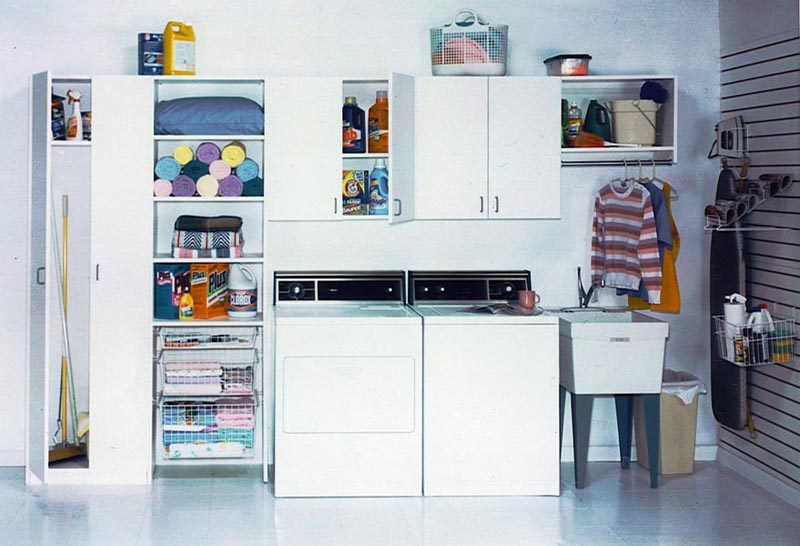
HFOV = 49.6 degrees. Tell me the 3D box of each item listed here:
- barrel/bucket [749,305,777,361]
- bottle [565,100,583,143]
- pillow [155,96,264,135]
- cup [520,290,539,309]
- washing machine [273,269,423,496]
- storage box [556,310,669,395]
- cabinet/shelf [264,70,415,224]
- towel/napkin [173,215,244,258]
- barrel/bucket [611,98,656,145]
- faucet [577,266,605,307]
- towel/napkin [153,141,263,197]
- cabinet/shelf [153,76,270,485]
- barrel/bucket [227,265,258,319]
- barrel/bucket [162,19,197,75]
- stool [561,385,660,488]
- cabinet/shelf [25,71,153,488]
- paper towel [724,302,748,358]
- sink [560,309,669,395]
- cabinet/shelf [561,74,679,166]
[{"bbox_3d":[2.454,0.409,5.826,0.144,0.363,0.188,2,9,38],"label":"barrel/bucket"},{"bbox_3d":[1.262,-1.068,6.267,0.130,0.285,0.176,-1,7,12],"label":"bottle"},{"bbox_3d":[-1.320,-1.074,5.992,0.755,0.277,0.146,-3,7,-1],"label":"pillow"},{"bbox_3d":[0.919,0.187,5.997,0.146,0.137,0.094,-1,2,0],"label":"cup"},{"bbox_3d":[-0.406,0.713,6.201,1.092,1.385,0.900,0,6,-6],"label":"washing machine"},{"bbox_3d":[1.441,0.483,5.970,0.656,0.562,0.590,0,7,1],"label":"storage box"},{"bbox_3d":[-0.585,-0.869,6.072,1.124,0.982,0.453,0,7,-12],"label":"cabinet/shelf"},{"bbox_3d":[-1.347,-0.248,6.061,0.484,0.294,0.284,2,7,-4],"label":"towel/napkin"},{"bbox_3d":[1.680,-1.070,6.188,0.348,0.270,0.303,1,7,9],"label":"barrel/bucket"},{"bbox_3d":[1.414,0.102,6.410,0.184,0.295,0.137,-2,7,8],"label":"faucet"},{"bbox_3d":[-1.334,-0.707,6.017,0.749,0.381,0.211,-5,7,-16],"label":"towel/napkin"},{"bbox_3d":[-1.358,0.017,6.162,0.893,2.717,0.523,1,5,-2],"label":"cabinet/shelf"},{"bbox_3d":[-1.124,0.118,6.226,0.223,0.386,0.222,0,-5,0],"label":"barrel/bucket"},{"bbox_3d":[-1.543,-1.549,6.037,0.233,0.367,0.165,-5,7,-16],"label":"barrel/bucket"},{"bbox_3d":[1.460,1.066,6.027,0.671,0.701,0.470,0,5,-1],"label":"stool"},{"bbox_3d":[-2.160,0.036,5.964,0.886,2.808,0.676,0,7,26],"label":"cabinet/shelf"},{"bbox_3d":[2.279,0.391,5.847,0.135,0.371,0.122,0,7,21],"label":"paper towel"},{"bbox_3d":[1.423,0.547,5.968,0.522,0.381,0.632,0,5,-1],"label":"sink"},{"bbox_3d":[1.573,-1.119,6.333,0.865,0.618,0.474,1,7,5],"label":"cabinet/shelf"}]
